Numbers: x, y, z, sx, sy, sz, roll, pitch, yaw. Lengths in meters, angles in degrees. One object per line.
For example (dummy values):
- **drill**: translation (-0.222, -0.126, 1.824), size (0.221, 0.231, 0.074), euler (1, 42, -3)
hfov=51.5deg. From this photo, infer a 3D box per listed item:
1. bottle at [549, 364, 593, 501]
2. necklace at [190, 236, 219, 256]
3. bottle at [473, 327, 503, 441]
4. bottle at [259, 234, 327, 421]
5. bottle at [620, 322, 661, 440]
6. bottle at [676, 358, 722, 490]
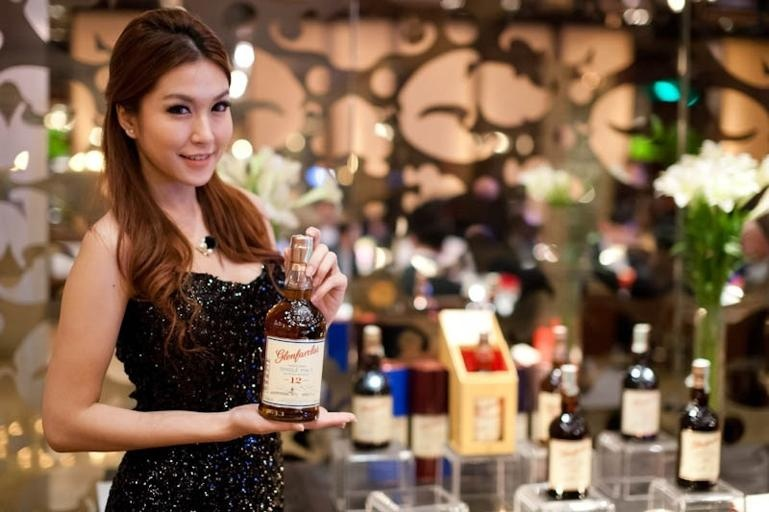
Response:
- **bottle**: translation (0.650, 0.608, 2.802), size (0.147, 0.457, 0.135), euler (2, 5, 0)
- **necklace**: translation (-0.563, -0.032, 2.562), size (0.066, 0.050, 0.024), euler (-21, 1, -16)
- **bottle**: translation (0.393, 0.489, 3.039), size (0.107, 0.404, 0.142), euler (2, 5, 0)
- **bottle**: translation (-0.259, 0.205, 2.300), size (0.186, 0.524, 0.136), euler (0, 6, -12)
- **bottle**: translation (1.052, 0.499, 3.255), size (0.199, 0.452, 0.145), euler (-2, 7, -34)
- **bottle**: translation (1.133, 0.603, 2.886), size (0.136, 0.453, 0.141), euler (2, 5, 0)
